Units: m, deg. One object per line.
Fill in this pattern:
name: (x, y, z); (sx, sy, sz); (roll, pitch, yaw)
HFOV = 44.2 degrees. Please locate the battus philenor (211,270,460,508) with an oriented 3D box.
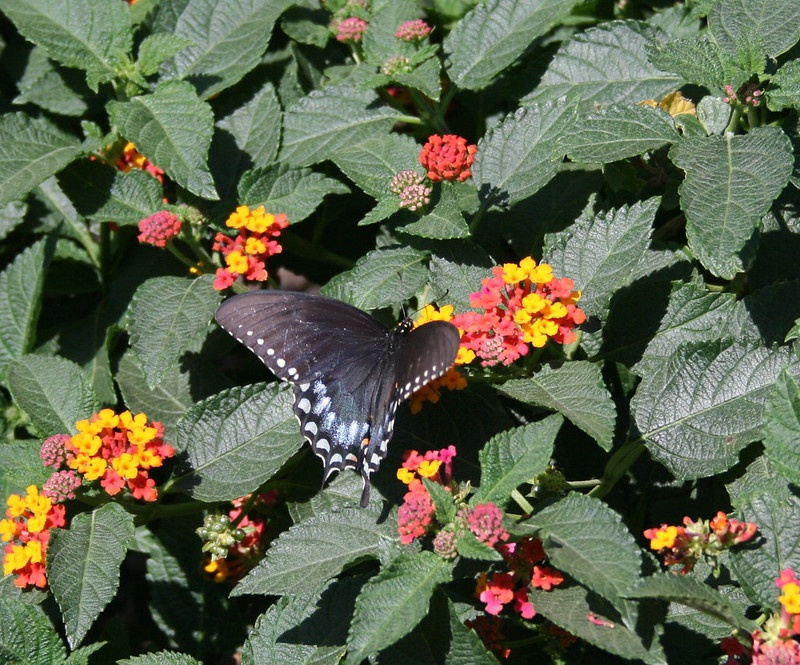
battus philenor: (-0.189, 0.189, 3.578); (0.605, 0.630, 0.805); (-23, 38, -21)
